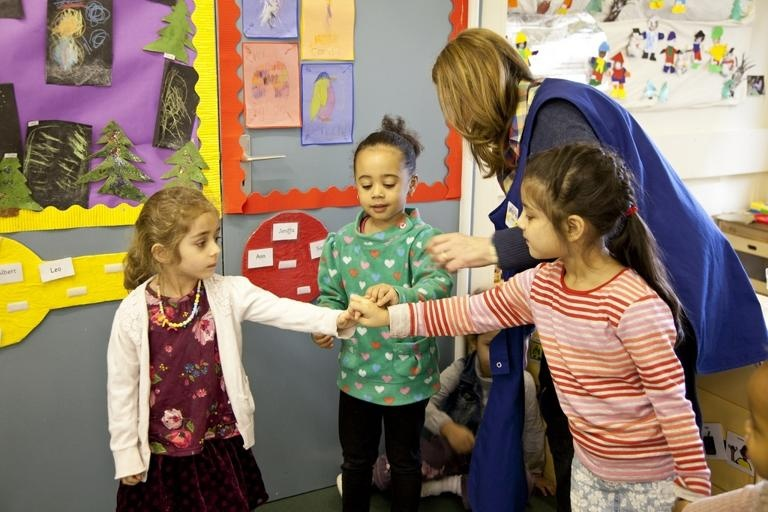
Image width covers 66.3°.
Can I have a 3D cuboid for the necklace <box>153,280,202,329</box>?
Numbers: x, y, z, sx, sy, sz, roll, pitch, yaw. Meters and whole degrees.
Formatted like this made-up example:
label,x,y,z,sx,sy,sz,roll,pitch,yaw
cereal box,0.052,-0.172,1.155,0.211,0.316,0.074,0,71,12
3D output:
label,x,y,z,sx,sy,sz,roll,pitch,yaw
necklace,-0.666,0.156,1.884,0.095,0.150,0.038,0,-8,-10
